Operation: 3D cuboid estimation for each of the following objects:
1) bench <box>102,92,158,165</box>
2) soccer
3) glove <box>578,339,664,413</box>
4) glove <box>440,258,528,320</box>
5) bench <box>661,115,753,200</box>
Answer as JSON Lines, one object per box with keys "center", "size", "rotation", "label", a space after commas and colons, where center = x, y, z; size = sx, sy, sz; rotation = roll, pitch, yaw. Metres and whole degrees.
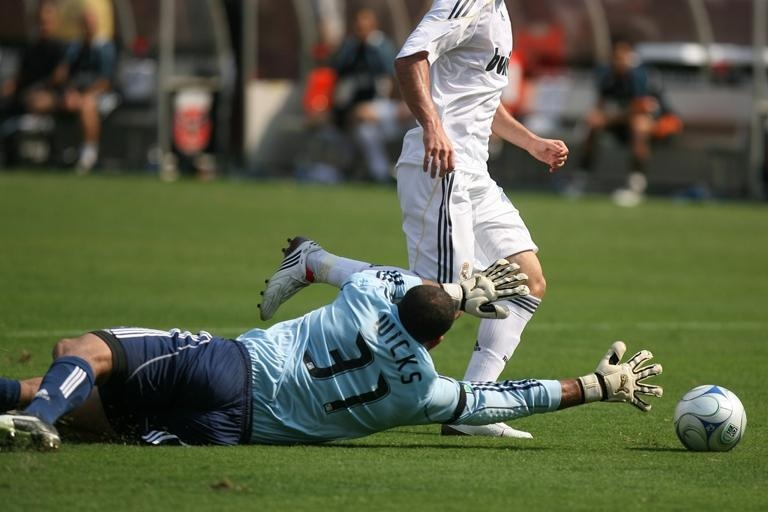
{"center": [-3.888, -2.001, 21.330], "size": [0.956, 0.921, 0.232], "rotation": [-2, 12, -9], "label": "bench"}
{"center": [2.736, 1.382, 11.660], "size": [0.575, 0.513, 0.269], "rotation": [9, 13, 13], "label": "soccer"}
{"center": [1.955, 1.015, 11.725], "size": [0.518, 0.694, 0.654], "rotation": [0, 0, -18], "label": "glove"}
{"center": [0.880, 0.299, 11.628], "size": [0.963, 0.433, 0.332], "rotation": [-8, 17, -39], "label": "glove"}
{"center": [5.249, -1.569, 22.648], "size": [0.681, 1.317, 1.339], "rotation": [-16, 21, -32], "label": "bench"}
